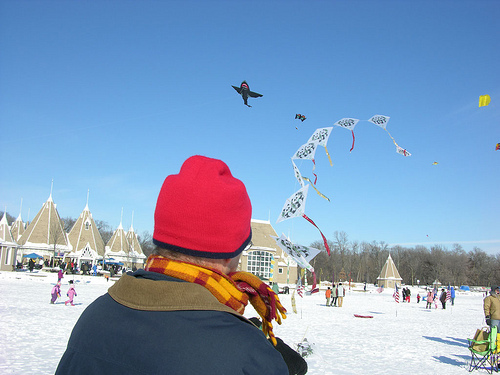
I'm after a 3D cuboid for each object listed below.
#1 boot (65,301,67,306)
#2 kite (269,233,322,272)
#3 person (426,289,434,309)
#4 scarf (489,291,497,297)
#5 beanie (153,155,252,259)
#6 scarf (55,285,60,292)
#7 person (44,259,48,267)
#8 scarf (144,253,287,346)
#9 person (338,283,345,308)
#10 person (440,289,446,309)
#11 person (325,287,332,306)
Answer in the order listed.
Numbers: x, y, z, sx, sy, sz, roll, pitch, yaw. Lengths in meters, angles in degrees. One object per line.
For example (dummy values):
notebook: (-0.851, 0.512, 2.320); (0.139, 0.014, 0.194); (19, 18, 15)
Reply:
boot: (-9.268, 5.841, 20.931); (0.114, 0.188, 0.070); (5, -1, 42)
kite: (0.958, 1.304, 8.427); (0.782, 0.604, 0.715); (-5, -14, -1)
person: (14.470, 9.081, 33.564); (0.469, 1.423, 2.773); (-1, -13, 21)
scarf: (6.619, 2.901, 11.311); (0.145, 0.154, 0.275); (-2, -14, 29)
beanie: (-0.223, 0.085, 2.220); (0.472, 0.521, 0.622); (6, 2, 34)
scarf: (-9.747, 5.087, 20.994); (0.218, 0.363, 0.304); (-2, -1, 1)
person: (-25.389, 9.451, 52.043); (0.428, 0.937, 0.230); (4, -4, 31)
scarf: (-0.149, 0.525, 2.054); (0.585, 0.316, 0.456); (30, -22, -15)
person: (6.845, 8.145, 31.408); (0.373, 1.695, 1.348); (1, -12, 13)
person: (14.851, 8.608, 31.959); (0.246, 1.261, 0.963); (-3, -13, 30)
person: (5.822, 8.211, 31.074); (0.288, 1.273, 1.069); (1, -11, 11)
